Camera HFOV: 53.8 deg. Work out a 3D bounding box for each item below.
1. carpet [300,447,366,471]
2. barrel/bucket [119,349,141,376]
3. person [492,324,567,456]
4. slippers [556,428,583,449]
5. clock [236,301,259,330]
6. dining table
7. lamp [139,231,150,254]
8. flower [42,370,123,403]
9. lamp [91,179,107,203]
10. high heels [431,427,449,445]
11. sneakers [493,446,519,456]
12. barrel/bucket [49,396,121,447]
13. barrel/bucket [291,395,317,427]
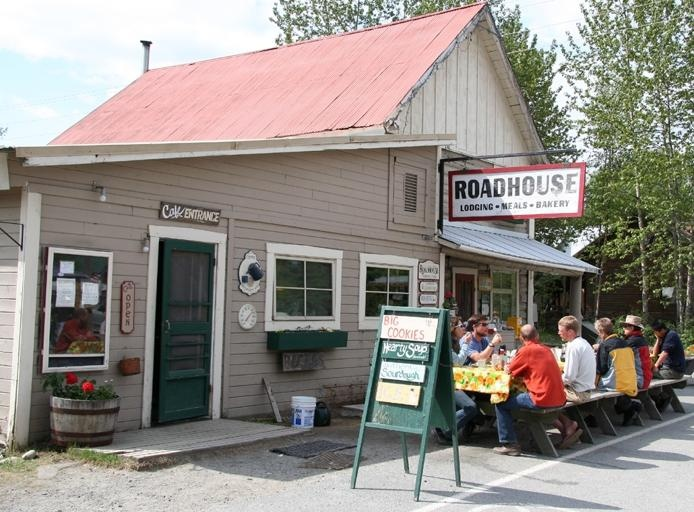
[{"bbox_3d":[-0.245,2.890,9.657,0.656,0.027,0.859,3,2,8],"label":"carpet"},{"bbox_3d":[-3.350,1.701,10.571,0.141,0.333,0.369,5,3,43],"label":"barrel/bucket"},{"bbox_3d":[2.778,2.032,10.305,1.013,1.938,0.548,3,3,11],"label":"person"},{"bbox_3d":[3.514,2.922,10.769,0.218,0.241,0.581,-29,-13,-30],"label":"slippers"},{"bbox_3d":[-1.786,1.094,12.291,0.078,0.500,0.457,4,3,35],"label":"clock"},{"bbox_3d":[2.864,1.845,10.946,1.540,1.607,2.413,-1,-3,37],"label":"dining table"},{"bbox_3d":[-3.207,-0.203,10.843,0.072,0.334,0.157,4,3,35],"label":"lamp"},{"bbox_3d":[-3.748,1.865,9.576,0.648,0.230,0.529,10,-7,-25],"label":"flower"},{"bbox_3d":[-3.741,-0.967,10.320,0.253,0.327,0.077,1,3,-35],"label":"lamp"},{"bbox_3d":[1.496,2.860,10.887,0.141,0.165,0.403,-2,8,-5],"label":"high heels"},{"bbox_3d":[2.418,2.928,10.334,0.351,0.133,0.137,1,-2,33],"label":"sneakers"},{"bbox_3d":[-3.584,2.252,9.363,0.752,0.469,0.764,1,-9,0],"label":"barrel/bucket"},{"bbox_3d":[-0.747,2.642,11.659,0.507,0.437,0.488,0,-6,0],"label":"barrel/bucket"}]
